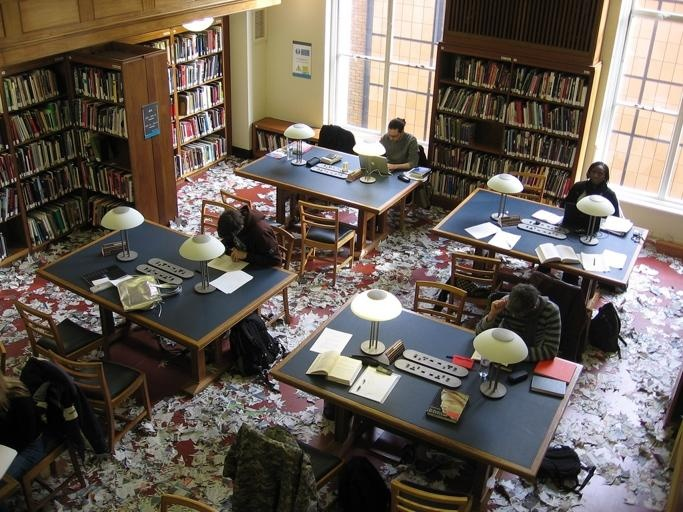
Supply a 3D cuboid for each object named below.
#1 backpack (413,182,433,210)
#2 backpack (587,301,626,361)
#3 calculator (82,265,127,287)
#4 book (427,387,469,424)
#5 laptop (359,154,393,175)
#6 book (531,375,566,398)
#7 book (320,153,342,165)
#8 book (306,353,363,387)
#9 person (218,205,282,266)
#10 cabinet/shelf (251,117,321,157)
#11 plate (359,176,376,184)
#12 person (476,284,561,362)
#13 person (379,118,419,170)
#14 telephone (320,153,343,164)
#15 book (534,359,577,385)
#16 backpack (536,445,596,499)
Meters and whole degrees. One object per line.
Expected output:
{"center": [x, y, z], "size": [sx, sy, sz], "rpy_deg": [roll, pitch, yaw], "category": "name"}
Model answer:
{"center": [1.271, -0.981, 8.131], "size": [0.234, 0.383, 0.300], "rpy_deg": [28, 49, 26], "category": "backpack"}
{"center": [2.938, 0.870, 5.704], "size": [0.321, 0.521, 0.459], "rpy_deg": [19, 38, 39], "category": "backpack"}
{"center": [-2.391, 0.181, 5.201], "size": [0.262, 0.056, 0.263], "rpy_deg": [-28, 45, -36], "category": "calculator"}
{"center": [0.809, 1.142, 3.879], "size": [0.250, 0.106, 0.287], "rpy_deg": [15, 27, 21], "category": "book"}
{"center": [0.457, -1.316, 7.242], "size": [0.406, 0.248, 0.317], "rpy_deg": [12, 25, 22], "category": "laptop"}
{"center": [1.644, 1.051, 4.086], "size": [0.264, 0.052, 0.180], "rpy_deg": [11, 26, 14], "category": "book"}
{"center": [-0.182, -1.474, 7.625], "size": [0.215, 0.054, 0.227], "rpy_deg": [26, 42, 31], "category": "book"}
{"center": [-0.018, 0.906, 4.128], "size": [0.393, 0.079, 0.255], "rpy_deg": [13, 37, 17], "category": "book"}
{"center": [-1.014, -0.208, 5.568], "size": [0.431, 0.739, 0.495], "rpy_deg": [-38, 56, -21], "category": "person"}
{"center": [-0.932, -2.052, 8.667], "size": [1.141, 0.568, 0.384], "rpy_deg": [22, 43, 19], "category": "cabinet/shelf"}
{"center": [0.348, -1.093, 7.160], "size": [0.154, 0.055, 0.150], "rpy_deg": [22, 38, 36], "category": "plate"}
{"center": [1.525, 0.522, 4.313], "size": [0.645, 0.663, 0.404], "rpy_deg": [8, 28, 5], "category": "person"}
{"center": [0.808, -1.637, 7.765], "size": [0.678, 0.898, 0.483], "rpy_deg": [12, 38, 21], "category": "person"}
{"center": [-0.183, -1.471, 7.623], "size": [0.209, 0.052, 0.221], "rpy_deg": [26, 41, 31], "category": "telephone"}
{"center": [1.770, 0.952, 4.241], "size": [0.232, 0.031, 0.244], "rpy_deg": [18, 33, 32], "category": "book"}
{"center": [1.928, 1.841, 4.383], "size": [0.395, 0.142, 0.437], "rpy_deg": [22, 30, 32], "category": "backpack"}
